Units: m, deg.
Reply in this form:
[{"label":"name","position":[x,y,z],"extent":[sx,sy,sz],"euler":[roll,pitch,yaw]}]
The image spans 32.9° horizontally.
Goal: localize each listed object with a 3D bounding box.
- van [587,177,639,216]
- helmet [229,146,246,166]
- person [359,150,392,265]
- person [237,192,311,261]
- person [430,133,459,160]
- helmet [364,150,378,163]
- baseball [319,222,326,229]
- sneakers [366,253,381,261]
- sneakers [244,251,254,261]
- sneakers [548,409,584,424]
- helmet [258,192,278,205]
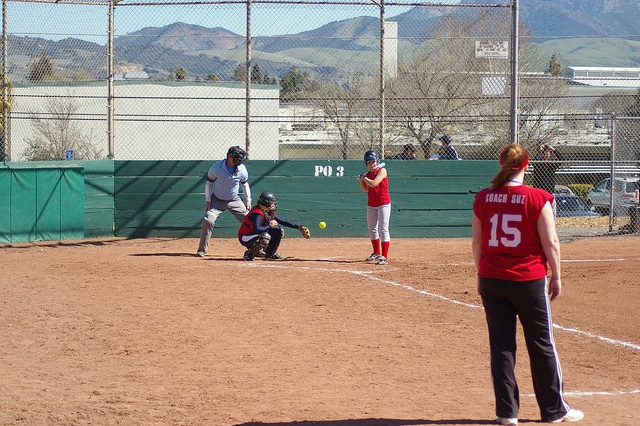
[{"label":"van","position":[9.418,-0.617,34.708],"extent":[1.010,0.852,2.084],"euler":[0,7,-8]},{"label":"helmet","position":[-1.975,-1.418,26.231],"extent":[0.463,0.426,0.405],"euler":[-2,2,5]},{"label":"person","position":[1.303,-0.144,25.728],"extent":[0.701,2.714,0.656],"euler":[0,11,-1]},{"label":"person","position":[-1.386,0.319,26.020],"extent":[1.114,1.629,0.445],"euler":[0,11,-4]},{"label":"person","position":[3.392,-1.791,29.604],"extent":[0.791,0.657,1.048],"euler":[2,11,5]},{"label":"helmet","position":[1.208,-1.351,25.571],"extent":[0.299,0.285,0.335],"euler":[1,11,3]},{"label":"baseball","position":[0.070,0.298,27.706],"extent":[0.154,0.149,0.157],"euler":[24,47,34]},{"label":"sneakers","position":[1.297,1.063,25.941],"extent":[0.430,0.181,0.138],"euler":[0,2,5]},{"label":"sneakers","position":[-1.721,1.036,26.057],"extent":[0.273,0.245,0.184],"euler":[9,-7,-31]},{"label":"sneakers","position":[4.571,3.748,20.094],"extent":[0.653,0.272,0.228],"euler":[-7,1,-8]},{"label":"helmet","position":[-1.243,-0.382,25.922],"extent":[0.386,0.287,0.277],"euler":[-8,45,-10]}]
